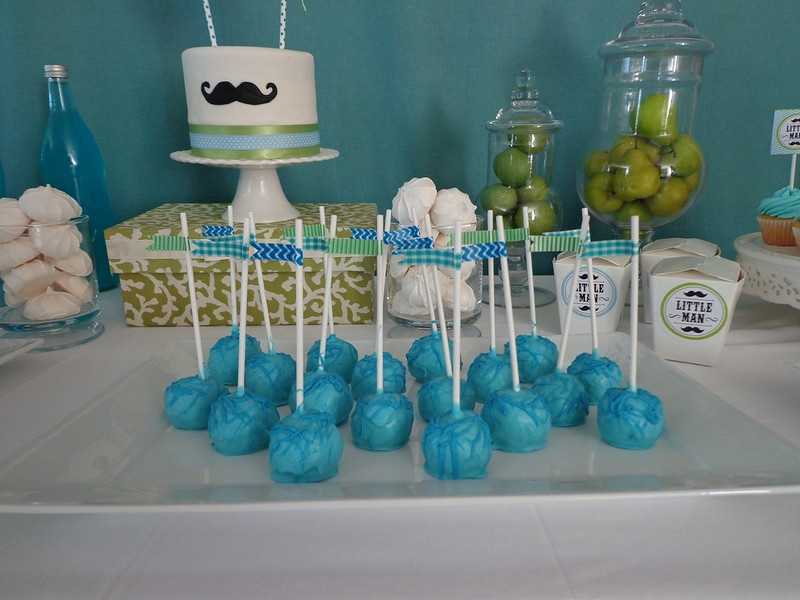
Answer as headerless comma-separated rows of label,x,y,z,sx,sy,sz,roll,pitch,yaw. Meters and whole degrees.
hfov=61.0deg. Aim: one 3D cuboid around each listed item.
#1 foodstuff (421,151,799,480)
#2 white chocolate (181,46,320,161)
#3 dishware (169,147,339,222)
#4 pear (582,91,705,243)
foodstuff,0.216,0.007,0.823,0.355,0.238,0.340,0,12,6
white chocolate,-0.252,-0.331,1.191,0.213,0.149,0.207,1,18,-1
dishware,-0.251,-0.195,1.191,0.199,0.081,0.197,8,20,19
pear,0.413,-0.220,1.230,0.234,0.285,0.229,-3,6,-43
